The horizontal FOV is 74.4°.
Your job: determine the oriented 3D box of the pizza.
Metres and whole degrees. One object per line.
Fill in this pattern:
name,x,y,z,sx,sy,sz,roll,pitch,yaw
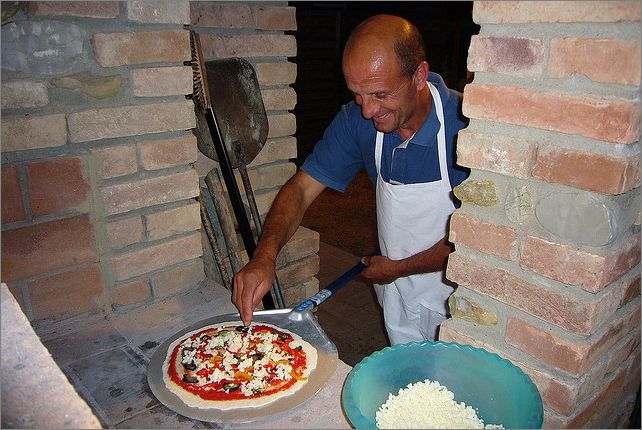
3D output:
pizza,-0.252,0.458,1.309,0.438,0.038,0.390,-12,21,-28

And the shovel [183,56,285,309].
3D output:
shovel,-0.377,-0.159,2.100,0.321,1.098,0.060,3,27,21

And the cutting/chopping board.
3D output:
cutting/chopping board,-0.230,0.346,1.275,0.284,0.059,0.553,17,22,31
